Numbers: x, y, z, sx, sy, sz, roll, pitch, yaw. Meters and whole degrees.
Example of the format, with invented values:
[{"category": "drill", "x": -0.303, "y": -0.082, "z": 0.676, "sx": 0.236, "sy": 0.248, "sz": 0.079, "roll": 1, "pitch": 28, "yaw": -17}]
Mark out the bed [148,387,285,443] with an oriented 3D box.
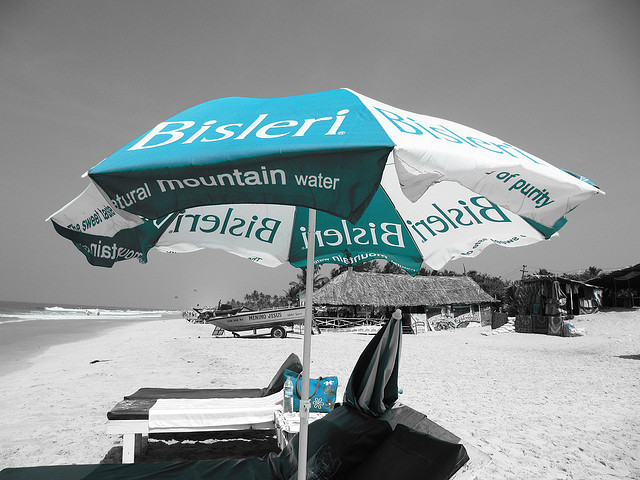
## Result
[{"category": "bed", "x": -1.477, "y": 2.498, "z": 6.750, "sx": 1.488, "sy": 0.660, "sz": 1.201, "roll": 4, "pitch": -10, "yaw": -4}]
